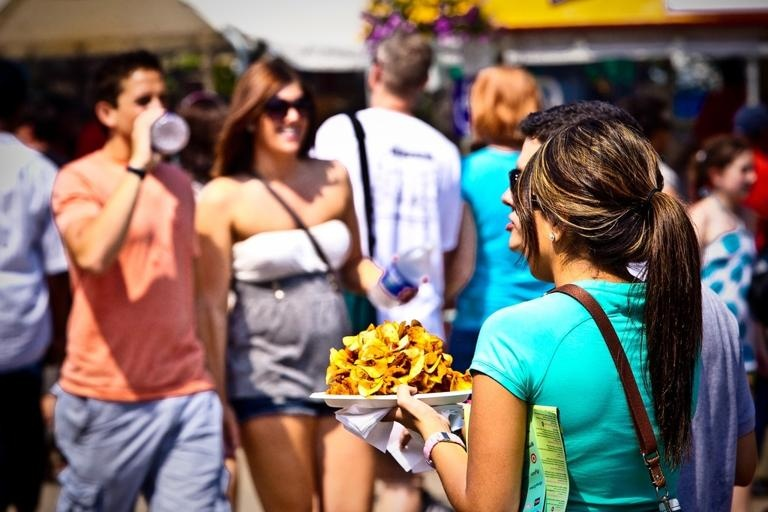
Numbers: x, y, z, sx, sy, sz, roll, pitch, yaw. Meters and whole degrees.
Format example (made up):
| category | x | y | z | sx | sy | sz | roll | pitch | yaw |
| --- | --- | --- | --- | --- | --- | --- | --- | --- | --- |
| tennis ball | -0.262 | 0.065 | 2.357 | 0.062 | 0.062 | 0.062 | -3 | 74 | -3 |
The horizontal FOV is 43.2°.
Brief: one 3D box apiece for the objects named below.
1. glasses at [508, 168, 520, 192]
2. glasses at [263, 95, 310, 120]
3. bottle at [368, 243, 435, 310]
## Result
| category | x | y | z | sx | sy | sz | roll | pitch | yaw |
| --- | --- | --- | --- | --- | --- | --- | --- | --- | --- |
| glasses | 0.479 | -0.279 | 3.558 | 0.044 | 0.082 | 0.077 | 7 | -4 | 5 |
| glasses | -0.443 | -0.668 | 4.390 | 0.185 | 0.098 | 0.076 | -8 | 29 | -31 |
| bottle | 0.096 | 0.110 | 4.434 | 0.309 | 0.250 | 0.255 | 0 | 3 | -25 |
